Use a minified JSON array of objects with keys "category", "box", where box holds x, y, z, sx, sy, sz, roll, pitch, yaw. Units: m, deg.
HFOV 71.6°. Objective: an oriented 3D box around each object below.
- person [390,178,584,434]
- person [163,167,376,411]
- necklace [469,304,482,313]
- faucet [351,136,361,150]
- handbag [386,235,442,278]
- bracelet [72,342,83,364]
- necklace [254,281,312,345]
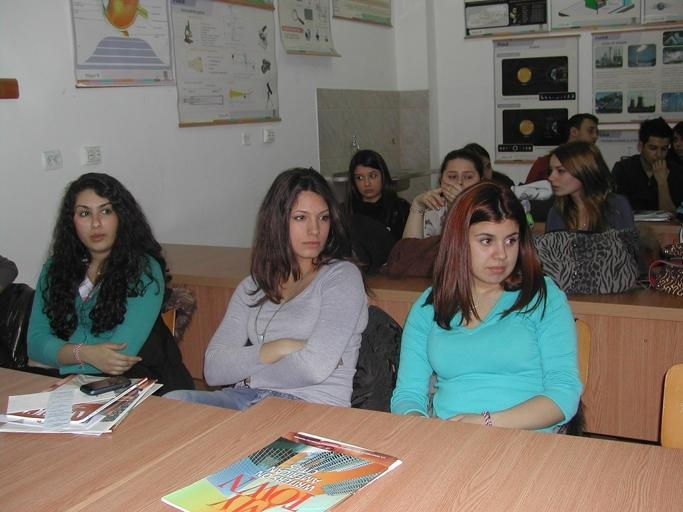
[{"category":"person","box":[0.455,0.188,1.509,0.557,0.776,0.466,-1,8,13]},{"category":"person","box":[-0.177,0.089,1.723,0.533,0.792,0.460,1,12,20]},{"category":"necklace","box":[0.425,0.165,1.485,0.029,0.007,0.031,5,21,27]},{"category":"faucet","box":[0.178,-1.301,5.470,0.054,0.182,0.146,4,13,31]},{"category":"handbag","box":[0.364,0.011,2.411,0.221,0.220,0.092,2,-7,19]},{"category":"bracelet","box":[-1.019,0.377,1.837,0.031,0.071,0.055,0,2,2]},{"category":"necklace","box":[-0.251,0.200,1.713,0.174,0.231,0.055,12,-8,10]}]
